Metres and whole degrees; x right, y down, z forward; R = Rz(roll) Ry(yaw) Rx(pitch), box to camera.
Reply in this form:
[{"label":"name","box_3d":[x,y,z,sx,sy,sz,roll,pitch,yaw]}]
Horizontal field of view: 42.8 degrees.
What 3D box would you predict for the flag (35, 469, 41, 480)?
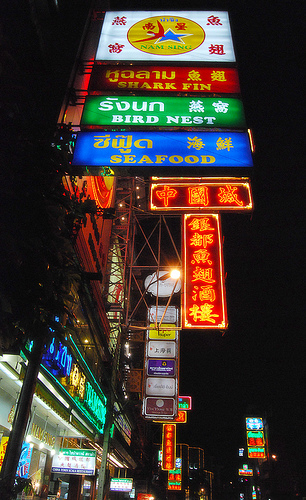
[{"label":"flag","box_3d":[-2.469,4.769,8.348,0.099,0.208,1.074,13,-33,-9]}]
